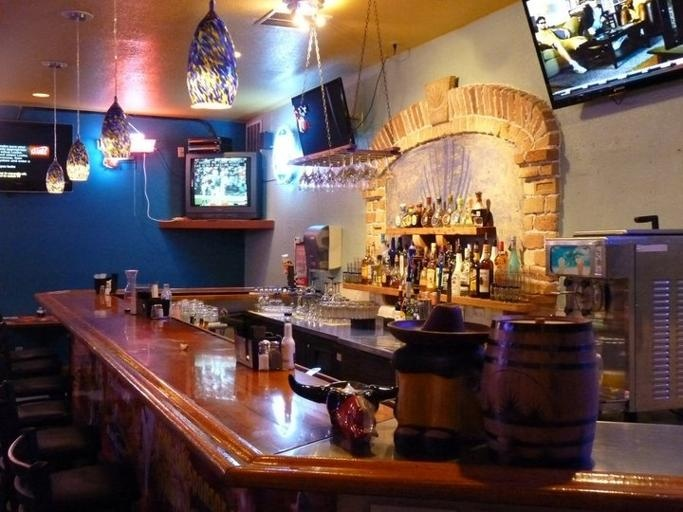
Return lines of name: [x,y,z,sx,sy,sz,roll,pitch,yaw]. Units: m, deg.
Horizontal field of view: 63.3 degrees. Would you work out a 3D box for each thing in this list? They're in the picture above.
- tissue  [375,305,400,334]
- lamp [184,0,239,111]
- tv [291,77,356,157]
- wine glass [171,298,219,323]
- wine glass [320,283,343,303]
tissue : [0.349,0.488,4.193,0.174,0.191,0.406,0,1,1]
lamp: [-0.598,-0.952,2.554,0.220,0.522,0.243,-1,2,-15]
tv: [-0.168,-1.480,5.818,0.158,0.880,1.211,-22,11,-23]
wine glass: [-1.167,0.409,4.376,0.215,0.100,0.270,2,2,-26]
wine glass: [-0.103,0.337,4.907,0.191,0.187,0.186,-1,-1,30]
